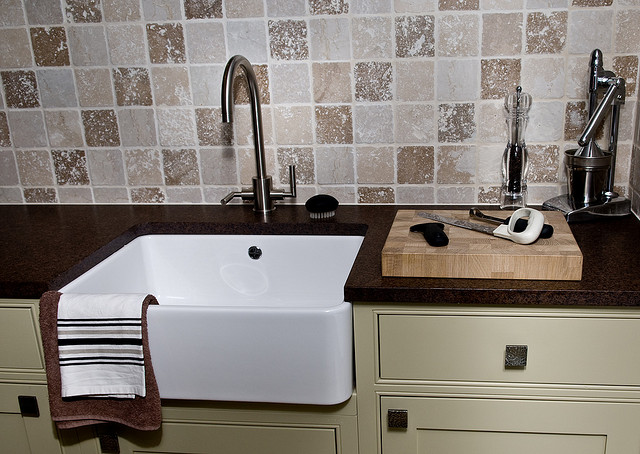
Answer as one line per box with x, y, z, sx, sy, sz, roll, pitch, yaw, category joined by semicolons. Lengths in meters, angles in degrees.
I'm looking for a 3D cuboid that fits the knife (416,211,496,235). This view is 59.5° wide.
0.362;-0.009;1.484;0.182;0.007;0.026;15;34;34;knife

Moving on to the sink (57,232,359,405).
-0.267;0.227;1.535;0.733;0.389;0.431;-1;6;7;sink

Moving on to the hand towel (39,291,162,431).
-0.567;0.323;1.401;0.310;0.338;0.103;0;3;1;hand towel

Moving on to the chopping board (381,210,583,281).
0.402;0.044;1.437;0.470;0.141;0.282;0;6;11;chopping board
